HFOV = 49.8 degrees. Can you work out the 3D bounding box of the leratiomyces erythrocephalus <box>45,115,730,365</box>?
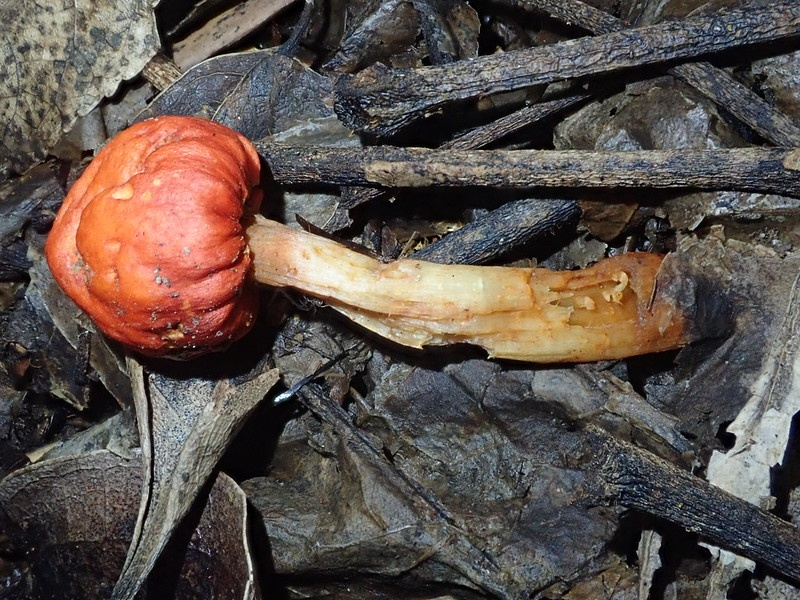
[{"bbox_3d":[0.593,-0.244,5.846,5.412,1.423,1.632,4,32,1],"label":"leratiomyces erythrocephalus"}]
